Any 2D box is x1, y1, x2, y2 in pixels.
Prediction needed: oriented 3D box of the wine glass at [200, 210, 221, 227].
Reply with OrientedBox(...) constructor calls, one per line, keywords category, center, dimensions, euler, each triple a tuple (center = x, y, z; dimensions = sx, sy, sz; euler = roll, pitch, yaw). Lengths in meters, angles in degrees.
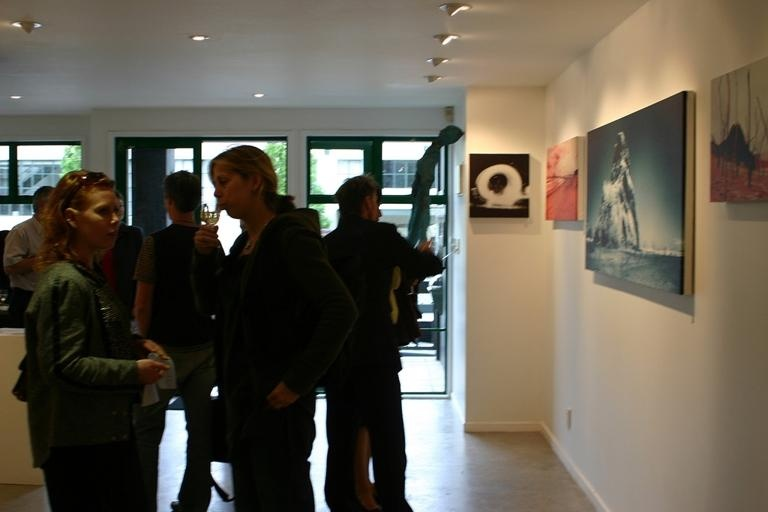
OrientedBox(category="wine glass", center=(-0.799, -0.169, 2.655), dimensions=(0.086, 0.066, 0.078), euler=(-1, 4, 17))
